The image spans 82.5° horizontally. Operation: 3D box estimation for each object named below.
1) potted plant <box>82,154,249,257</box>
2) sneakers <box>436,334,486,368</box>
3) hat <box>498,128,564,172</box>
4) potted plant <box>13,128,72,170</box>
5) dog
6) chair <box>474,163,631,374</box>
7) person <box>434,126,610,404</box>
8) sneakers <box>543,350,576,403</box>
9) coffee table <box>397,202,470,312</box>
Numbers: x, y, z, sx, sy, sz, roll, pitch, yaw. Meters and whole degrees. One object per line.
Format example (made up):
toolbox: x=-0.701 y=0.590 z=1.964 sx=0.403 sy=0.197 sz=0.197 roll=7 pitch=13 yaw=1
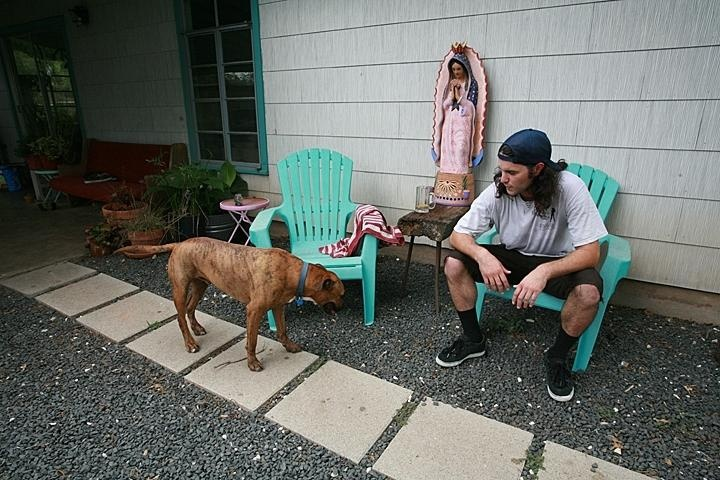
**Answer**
potted plant: x=-2.337 y=-0.396 z=5.118 sx=1.824 sy=0.770 sz=1.132 roll=-3 pitch=6 yaw=-28
sneakers: x=0.766 y=0.863 z=3.153 sx=0.456 sy=0.188 sz=0.169 roll=-13 pitch=28 yaw=-9
hat: x=1.116 y=-0.607 z=2.744 sx=0.384 sy=0.224 sz=0.240 roll=-5 pitch=21 yaw=-26
potted plant: x=-5.560 y=-1.592 z=7.376 sx=0.774 sy=0.644 sz=0.917 roll=10 pitch=17 yaw=26
dog: x=-1.110 y=0.464 z=3.275 sx=1.940 sy=0.925 sz=0.584 roll=7 pitch=13 yaw=7
chair: x=1.684 y=0.140 z=3.556 sx=1.125 sy=1.334 sz=1.474 roll=10 pitch=25 yaw=36
person: x=1.165 y=0.140 z=2.963 sx=1.055 sy=1.796 sz=0.670 roll=6 pitch=24 yaw=20
sneakers: x=1.420 y=0.986 z=2.924 sx=0.203 sy=0.247 sz=0.227 roll=8 pitch=24 yaw=23
coffee table: x=0.717 y=-0.001 z=4.068 sx=0.597 sy=0.682 sz=1.093 roll=13 pitch=22 yaw=23
